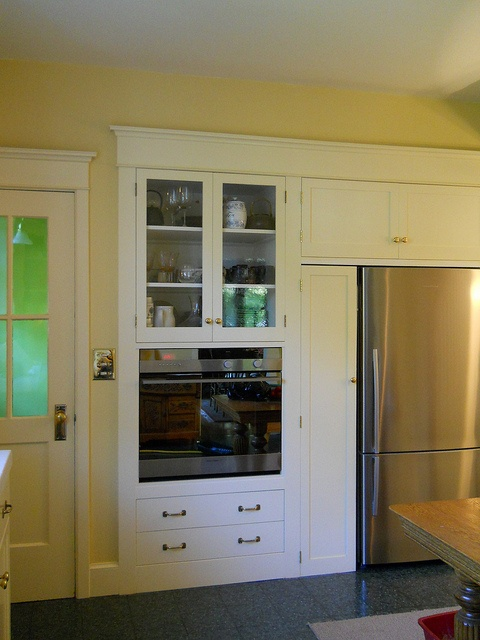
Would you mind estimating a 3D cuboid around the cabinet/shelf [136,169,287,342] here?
[{"bbox_3d":[-0.174,-0.337,2.868,0.825,1.026,0.288,0,-1,-15],"label":"cabinet/shelf"}]

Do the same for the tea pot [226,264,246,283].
[{"bbox_3d":[-0.010,-0.237,2.908,0.108,0.116,0.066,-1,-5,20],"label":"tea pot"}]

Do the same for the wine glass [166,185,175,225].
[{"bbox_3d":[-0.348,-0.572,2.833,0.049,0.194,0.030,-1,3,-4],"label":"wine glass"}]

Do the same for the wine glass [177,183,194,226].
[{"bbox_3d":[-0.274,-0.582,2.853,0.071,0.207,0.027,-1,3,-8],"label":"wine glass"}]

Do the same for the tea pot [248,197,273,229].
[{"bbox_3d":[0.112,-0.555,2.951,0.160,0.184,0.103,-1,7,-6],"label":"tea pot"}]
